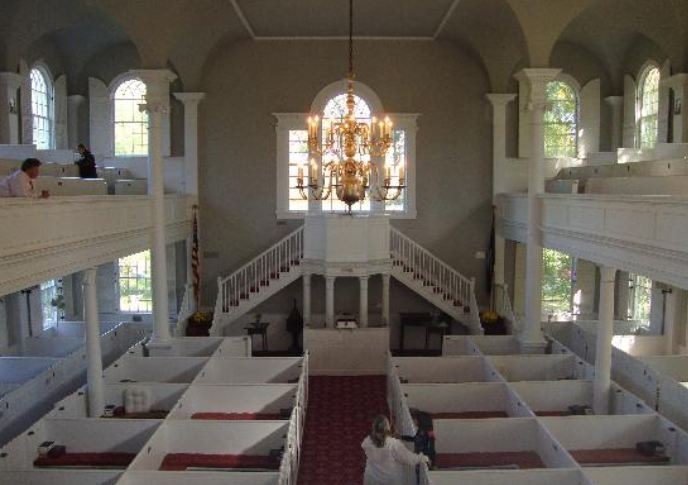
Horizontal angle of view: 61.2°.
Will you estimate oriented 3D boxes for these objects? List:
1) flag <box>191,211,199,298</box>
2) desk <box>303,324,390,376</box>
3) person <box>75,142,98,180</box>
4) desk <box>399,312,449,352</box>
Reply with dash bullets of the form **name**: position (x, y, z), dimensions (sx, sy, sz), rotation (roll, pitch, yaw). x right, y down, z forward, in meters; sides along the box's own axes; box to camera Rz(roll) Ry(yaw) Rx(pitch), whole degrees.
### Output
- **flag**: position (-5.047, 0.369, 19.750), dimensions (0.270, 3.179, 0.463), rotation (-2, 7, -16)
- **desk**: position (0.092, 3.328, 17.700), dimensions (2.503, 1.328, 0.505), rotation (0, 7, 0)
- **person**: position (-6.924, -2.128, 15.659), dimensions (0.553, 0.987, 0.466), rotation (-3, 26, -18)
- **desk**: position (2.748, 3.069, 19.845), dimensions (1.849, 1.607, 1.370), rotation (0, 1, -1)
